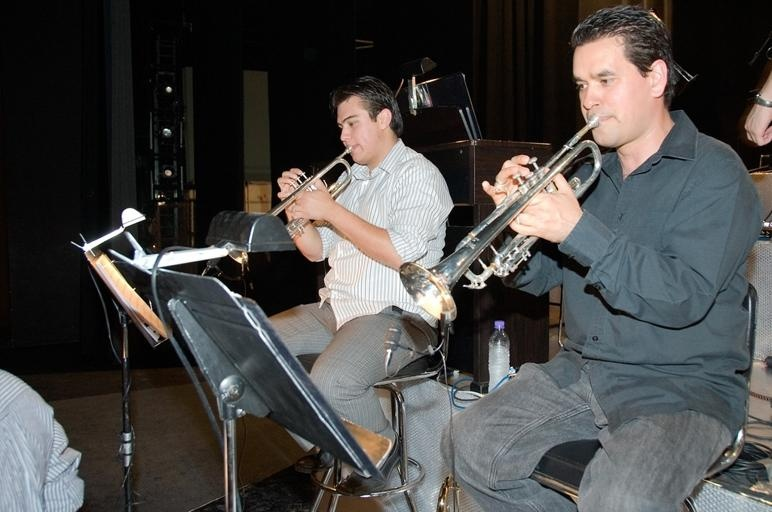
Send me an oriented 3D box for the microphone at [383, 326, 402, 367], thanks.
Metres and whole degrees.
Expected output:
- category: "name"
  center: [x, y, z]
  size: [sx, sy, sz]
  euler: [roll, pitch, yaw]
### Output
- category: "microphone"
  center: [0.025, 0.420, 3.056]
  size: [0.050, 0.051, 0.211]
  euler: [16, 58, 13]
